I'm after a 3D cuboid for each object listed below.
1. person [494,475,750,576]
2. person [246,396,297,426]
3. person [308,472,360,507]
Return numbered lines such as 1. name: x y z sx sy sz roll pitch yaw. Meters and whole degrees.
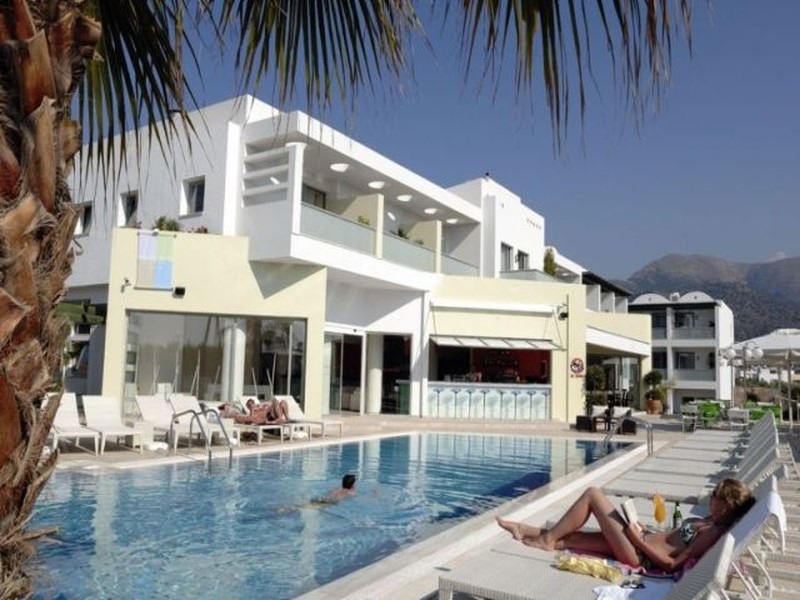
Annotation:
1. person: 1.903 1.893 5.488 2.041 1.027 0.871 0 -12 36
2. person: -3.079 2.651 14.885 0.668 0.482 0.904 2 -3 -5
3. person: -1.042 2.853 9.436 0.497 0.338 0.817 1 -4 24
